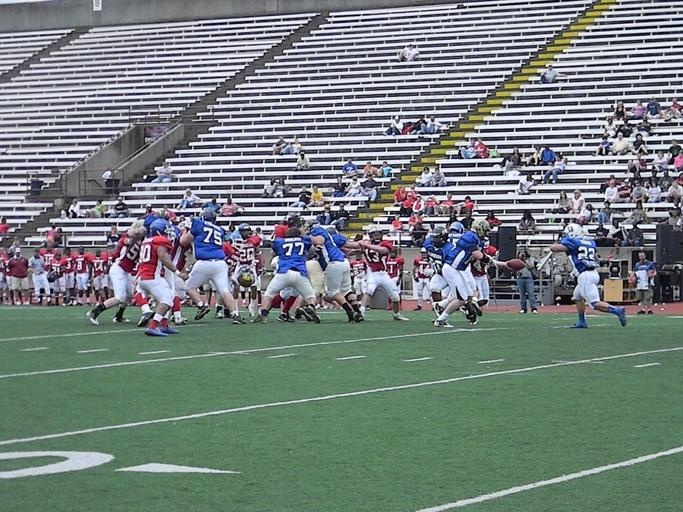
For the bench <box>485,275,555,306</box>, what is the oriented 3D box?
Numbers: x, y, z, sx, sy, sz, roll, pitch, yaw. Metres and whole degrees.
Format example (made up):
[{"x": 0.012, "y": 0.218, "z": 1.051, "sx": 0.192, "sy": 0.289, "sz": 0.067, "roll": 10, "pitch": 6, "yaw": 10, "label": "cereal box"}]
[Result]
[{"x": 3.967, "y": 0.819, "z": 24.973, "sx": 1.302, "sy": 0.696, "sz": 0.633, "roll": -1, "pitch": 1, "yaw": 22, "label": "bench"}]

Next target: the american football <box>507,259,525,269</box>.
[{"x": 3.036, "y": 0.140, "z": 19.450, "sx": 0.290, "sy": 0.165, "sz": 0.155, "roll": -9, "pitch": -37, "yaw": 33, "label": "american football"}]

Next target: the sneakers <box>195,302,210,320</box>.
[{"x": -2.493, "y": 1.003, "z": 19.987, "sx": 0.403, "sy": 0.172, "sz": 0.134, "roll": -45, "pitch": -39, "yaw": 18, "label": "sneakers"}]

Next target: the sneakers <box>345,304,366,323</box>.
[{"x": 0.234, "y": 1.022, "z": 19.464, "sx": 0.237, "sy": 0.173, "sz": 0.515, "roll": -8, "pitch": -41, "yaw": 16, "label": "sneakers"}]

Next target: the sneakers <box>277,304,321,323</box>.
[{"x": -0.766, "y": 1.059, "z": 19.970, "sx": 0.555, "sy": 0.248, "sz": 0.173, "roll": 22, "pitch": -20, "yaw": 52, "label": "sneakers"}]

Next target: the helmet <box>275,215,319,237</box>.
[{"x": -0.760, "y": -0.583, "z": 19.185, "sx": 0.571, "sy": 0.448, "sz": 0.562, "roll": 0, "pitch": -26, "yaw": -27, "label": "helmet"}]

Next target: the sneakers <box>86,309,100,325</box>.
[{"x": -4.343, "y": 1.095, "z": 19.465, "sx": 0.132, "sy": 0.280, "sz": 0.105, "roll": -29, "pitch": 4, "yaw": -32, "label": "sneakers"}]

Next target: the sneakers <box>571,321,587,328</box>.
[{"x": 3.961, "y": 1.159, "z": 18.521, "sx": 0.291, "sy": 0.118, "sz": 0.099, "roll": 4, "pitch": 4, "yaw": 16, "label": "sneakers"}]

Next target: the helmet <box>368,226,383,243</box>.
[{"x": 0.643, "y": -0.367, "z": 19.969, "sx": 0.222, "sy": 0.251, "sz": 0.255, "roll": -5, "pitch": -10, "yaw": -12, "label": "helmet"}]

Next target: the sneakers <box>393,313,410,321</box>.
[{"x": 1.092, "y": 1.127, "z": 20.292, "sx": 0.113, "sy": 0.145, "sz": 0.353, "roll": 11, "pitch": 13, "yaw": 39, "label": "sneakers"}]

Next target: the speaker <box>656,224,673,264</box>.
[{"x": 7.160, "y": -0.266, "z": 24.585, "sx": 0.413, "sy": 0.842, "sz": 0.371, "roll": 1, "pitch": -3, "yaw": -21, "label": "speaker"}]

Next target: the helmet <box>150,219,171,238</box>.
[{"x": -2.885, "y": -0.455, "z": 17.631, "sx": 0.293, "sy": 0.279, "sz": 0.645, "roll": -2, "pitch": 10, "yaw": -8, "label": "helmet"}]

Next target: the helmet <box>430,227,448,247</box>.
[{"x": 1.680, "y": -0.347, "z": 19.087, "sx": 0.260, "sy": 0.335, "sz": 0.338, "roll": 1, "pitch": -19, "yaw": -2, "label": "helmet"}]

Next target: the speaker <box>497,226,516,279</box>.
[{"x": 3.703, "y": -0.281, "z": 24.820, "sx": 0.436, "sy": 0.727, "sz": 0.408, "roll": 1, "pitch": 10, "yaw": 7, "label": "speaker"}]

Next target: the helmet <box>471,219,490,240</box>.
[{"x": 2.350, "y": -0.454, "z": 18.734, "sx": 0.353, "sy": 0.323, "sz": 0.278, "roll": -9, "pitch": 17, "yaw": -1, "label": "helmet"}]
